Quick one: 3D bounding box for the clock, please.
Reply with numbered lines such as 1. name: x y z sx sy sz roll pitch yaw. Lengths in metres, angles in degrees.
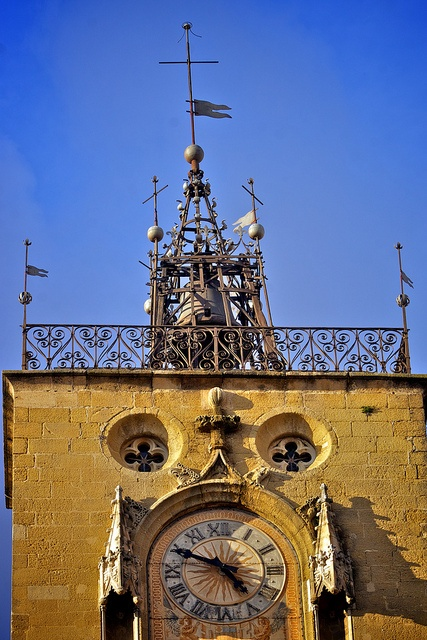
1. clock: 0.192 4.185 30.182 2.044 2.340 0.150 0 -50 -2
